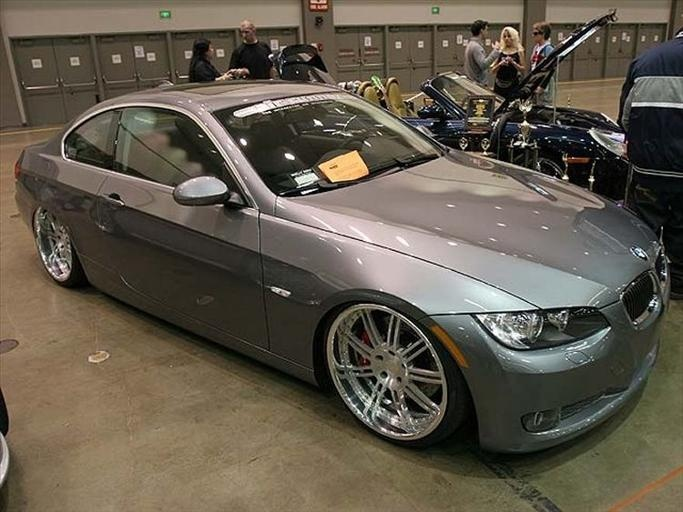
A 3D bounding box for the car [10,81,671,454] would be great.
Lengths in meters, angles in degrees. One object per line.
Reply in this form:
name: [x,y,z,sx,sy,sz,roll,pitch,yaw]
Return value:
car: [-0.315,-0.074,2.934,3.758,1.125,1.793,15,30,32]
